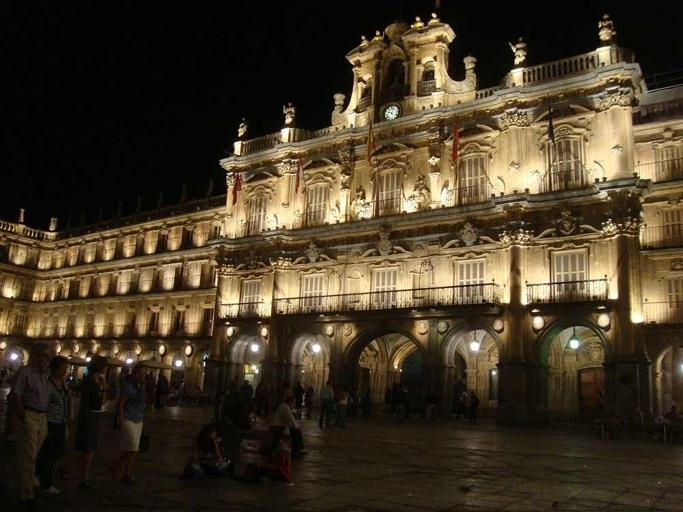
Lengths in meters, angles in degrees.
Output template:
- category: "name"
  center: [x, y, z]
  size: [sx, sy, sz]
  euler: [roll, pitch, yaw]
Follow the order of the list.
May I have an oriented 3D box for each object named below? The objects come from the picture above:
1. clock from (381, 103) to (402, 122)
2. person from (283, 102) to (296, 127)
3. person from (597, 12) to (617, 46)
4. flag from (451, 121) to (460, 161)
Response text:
- category: "clock"
  center: [2.827, -8.118, 36.579]
  size: [1.028, 1.043, 0.369]
  euler: [12, 1, 39]
- category: "person"
  center: [-3.163, -8.811, 39.898]
  size: [0.596, 1.666, 1.362]
  euler: [1, -14, -9]
- category: "person"
  center: [12.469, -10.704, 30.547]
  size: [0.650, 1.437, 1.130]
  euler: [-6, -15, 21]
- category: "flag"
  center: [5.862, -5.982, 33.333]
  size: [0.455, 2.387, 1.226]
  euler: [-4, -14, 12]
